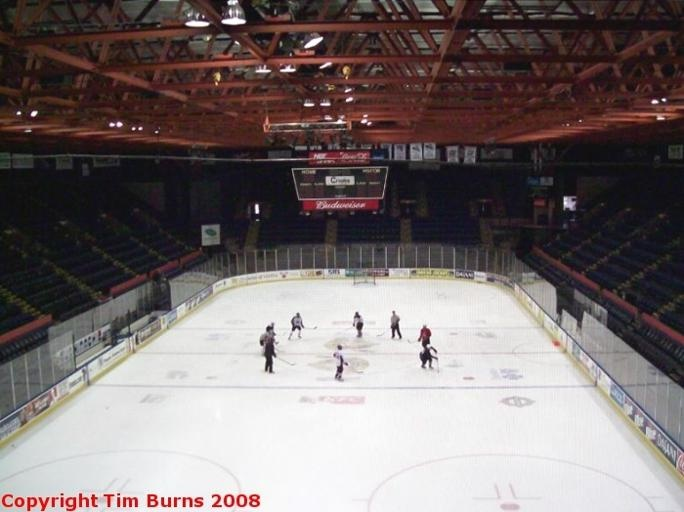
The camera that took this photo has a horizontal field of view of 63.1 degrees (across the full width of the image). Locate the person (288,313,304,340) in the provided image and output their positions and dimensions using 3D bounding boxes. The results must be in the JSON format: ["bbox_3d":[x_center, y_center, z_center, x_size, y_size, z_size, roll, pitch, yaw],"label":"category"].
[{"bbox_3d":[-2.586,3.968,30.878,0.926,0.801,1.808,-4,-59,-9],"label":"person"}]

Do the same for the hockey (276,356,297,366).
[{"bbox_3d":[-2.664,4.988,26.540,1.134,0.332,0.028,20,-17,50],"label":"hockey"}]
